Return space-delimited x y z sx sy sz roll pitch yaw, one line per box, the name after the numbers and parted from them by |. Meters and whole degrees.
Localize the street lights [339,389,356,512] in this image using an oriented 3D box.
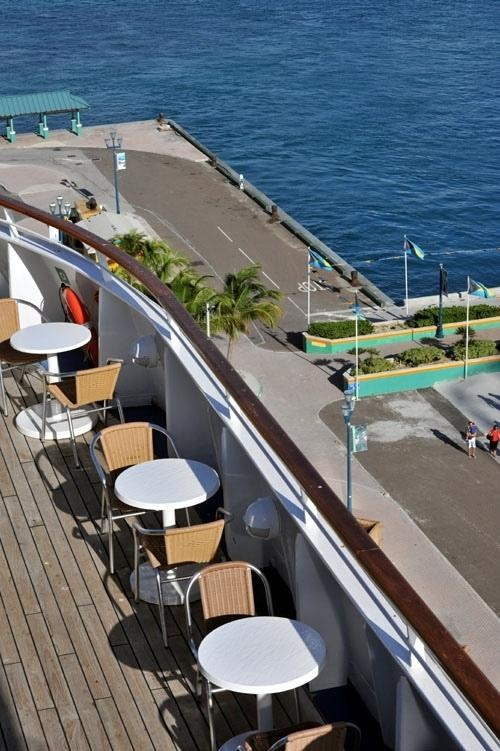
2.284 1.971 19.474 0.437 2.805 0.427 0 3 35 | street lights

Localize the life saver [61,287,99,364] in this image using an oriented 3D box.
-1.782 -0.555 8.839 0.249 0.753 0.482 -16 -6 -3 | life saver

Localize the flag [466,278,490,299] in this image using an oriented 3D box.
8.094 -3.023 29.688 0.742 0.879 2.399 1 15 14 | flag

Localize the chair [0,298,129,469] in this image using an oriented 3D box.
-1.767 0.115 7.979 0.521 0.897 1.317 -14 40 -27 | chair

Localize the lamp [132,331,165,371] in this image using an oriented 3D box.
-0.864 -0.197 7.155 0.292 0.295 0.247 0 -14 -19 | lamp

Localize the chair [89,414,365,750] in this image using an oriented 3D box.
-0.402 1.120 5.774 0.755 1.031 3.283 -9 36 -17 | chair
